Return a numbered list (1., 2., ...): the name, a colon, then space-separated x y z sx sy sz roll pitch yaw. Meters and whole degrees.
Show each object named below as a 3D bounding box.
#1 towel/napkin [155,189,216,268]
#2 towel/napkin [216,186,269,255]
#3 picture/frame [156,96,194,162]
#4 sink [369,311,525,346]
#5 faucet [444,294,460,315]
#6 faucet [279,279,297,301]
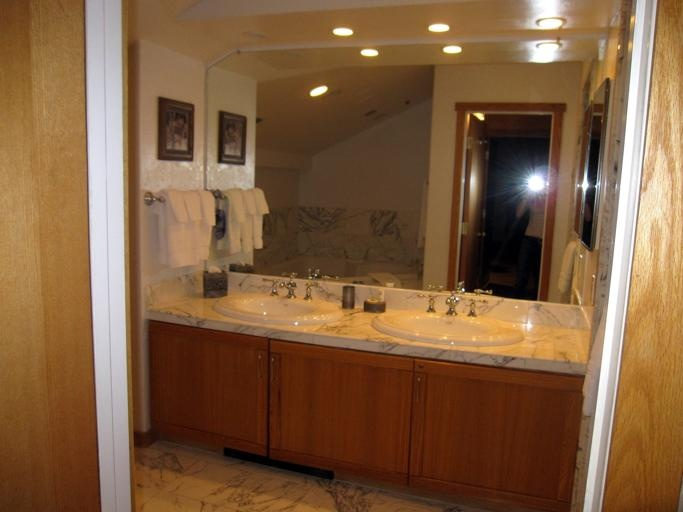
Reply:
1. towel/napkin: -0.881 -0.165 3.113 0.150 0.479 0.373 7 11 34
2. towel/napkin: -0.559 -0.216 3.307 0.343 0.506 0.329 -3 7 -26
3. picture/frame: -0.933 -0.717 3.114 0.029 0.416 0.349 5 7 24
4. sink: 0.514 0.367 2.748 0.725 0.107 0.410 2 14 14
5. faucet: 0.582 0.252 2.934 0.087 0.149 0.092 1 1 19
6. faucet: -0.296 0.196 3.252 0.106 0.108 0.088 5 -1 6
